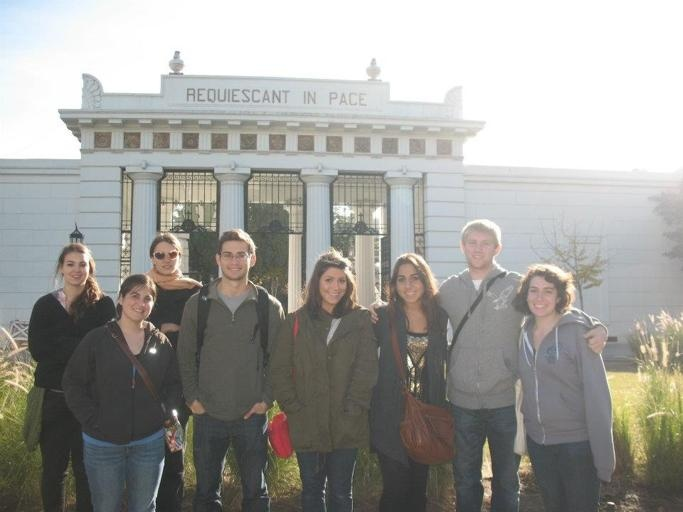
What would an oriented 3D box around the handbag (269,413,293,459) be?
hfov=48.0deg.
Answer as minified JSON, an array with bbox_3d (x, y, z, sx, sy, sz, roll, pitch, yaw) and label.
[{"bbox_3d":[-0.750,2.199,9.486,0.354,0.518,0.257,-27,-20,36],"label":"handbag"}]

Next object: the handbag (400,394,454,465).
[{"bbox_3d":[1.016,2.140,9.363,0.590,0.915,0.445,-10,-5,-17],"label":"handbag"}]
